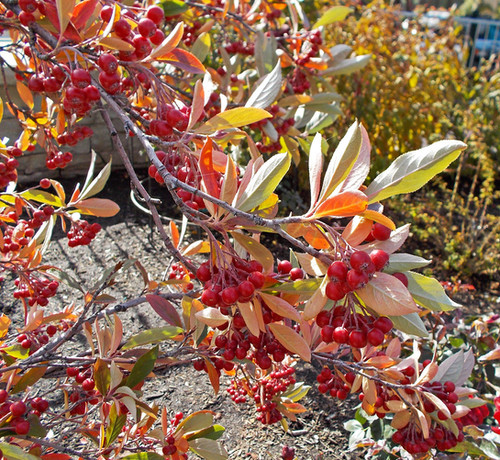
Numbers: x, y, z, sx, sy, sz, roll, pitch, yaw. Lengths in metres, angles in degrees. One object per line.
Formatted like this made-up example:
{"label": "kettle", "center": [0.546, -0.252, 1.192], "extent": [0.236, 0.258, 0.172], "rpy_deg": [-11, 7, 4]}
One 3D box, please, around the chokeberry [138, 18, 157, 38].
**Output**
{"label": "chokeberry", "center": [-0.379, -0.754, 2.638], "extent": [0.061, 0.058, 0.071], "rpy_deg": [-39, 10, -11]}

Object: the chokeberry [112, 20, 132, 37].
{"label": "chokeberry", "center": [-0.472, -0.746, 2.615], "extent": [0.067, 0.065, 0.060], "rpy_deg": [-2, 14, 0]}
